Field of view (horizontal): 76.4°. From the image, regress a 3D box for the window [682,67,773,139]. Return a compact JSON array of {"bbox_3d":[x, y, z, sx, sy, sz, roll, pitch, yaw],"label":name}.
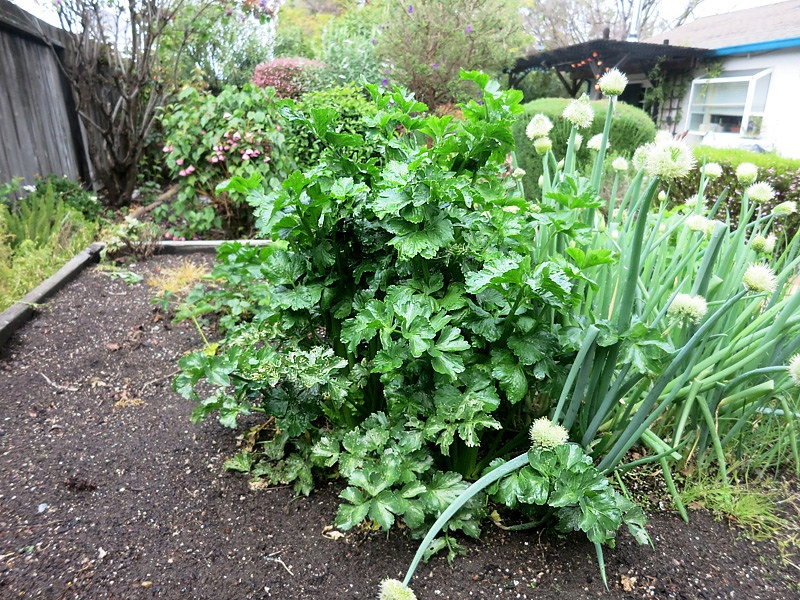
[{"bbox_3d":[8.606,-5.183,13.523,0.587,1.528,1.638,-13,24,-24],"label":"window"}]
